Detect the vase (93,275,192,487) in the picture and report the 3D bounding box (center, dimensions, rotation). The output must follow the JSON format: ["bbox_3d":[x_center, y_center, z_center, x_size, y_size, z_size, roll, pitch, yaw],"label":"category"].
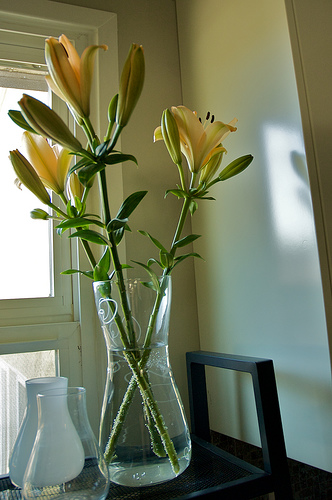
[{"bbox_3d":[-0.040,0.189,0.589,0.137,0.309,0.082,-6,1,-10],"label":"vase"}]

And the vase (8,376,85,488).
[{"bbox_3d":[-0.171,0.241,0.539,0.090,0.137,0.172,-7,1,-27],"label":"vase"}]
